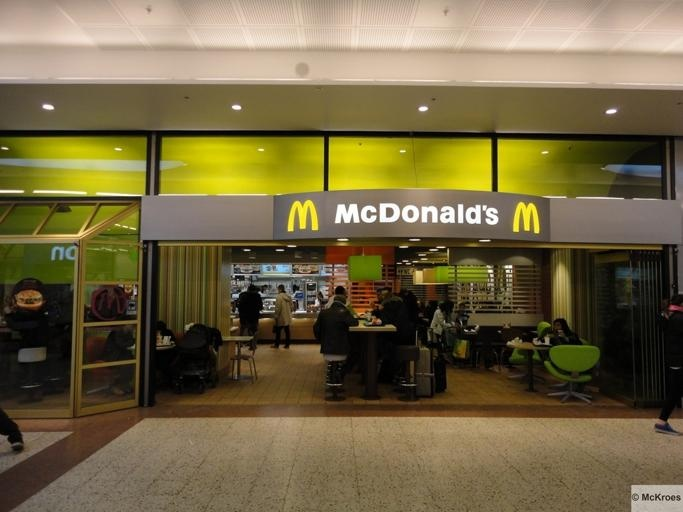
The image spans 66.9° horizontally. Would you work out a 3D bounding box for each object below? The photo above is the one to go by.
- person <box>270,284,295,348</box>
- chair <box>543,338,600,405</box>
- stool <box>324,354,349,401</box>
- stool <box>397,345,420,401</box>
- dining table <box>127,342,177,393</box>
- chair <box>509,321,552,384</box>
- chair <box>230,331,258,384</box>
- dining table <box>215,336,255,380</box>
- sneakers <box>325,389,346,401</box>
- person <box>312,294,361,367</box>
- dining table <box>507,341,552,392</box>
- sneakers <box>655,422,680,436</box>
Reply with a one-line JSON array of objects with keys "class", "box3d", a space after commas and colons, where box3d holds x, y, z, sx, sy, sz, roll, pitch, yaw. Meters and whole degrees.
[{"class": "person", "box3d": [-1.695, 1.772, 15.162, 0.569, 1.825, 0.435, 0, -3, -34]}, {"class": "chair", "box3d": [4.060, 2.065, 9.258, 1.098, 1.179, 1.084, 0, -2, 9]}, {"class": "stool", "box3d": [-0.113, 2.119, 9.184, 0.460, 0.812, 0.421, -1, -5, -2]}, {"class": "stool", "box3d": [1.218, 2.039, 9.228, 0.360, 0.942, 0.737, -1, -2, 8]}, {"class": "dining table", "box3d": [-3.498, 2.152, 10.064, 0.992, 1.039, 1.006, 1, -2, 1]}, {"class": "chair", "box3d": [3.868, 1.989, 10.733, 0.968, 1.246, 1.338, 1, -3, 18]}, {"class": "chair", "box3d": [-2.033, 2.088, 10.717, 0.569, 0.749, 0.565, -7, -4, 11]}, {"class": "dining table", "box3d": [-2.260, 2.321, 11.551, 0.862, 0.752, 0.822, 1, -15, -17]}, {"class": "sneakers", "box3d": [-0.113, 2.485, 9.206, 0.286, 0.164, 0.277, 1, 3, 7]}, {"class": "person", "box3d": [-0.053, 1.292, 9.432, 0.737, 1.414, 1.323, -2, -2, 11]}, {"class": "dining table", "box3d": [3.582, 2.131, 9.818, 0.835, 0.854, 0.853, -2, -10, 13]}, {"class": "sneakers", "box3d": [4.700, 2.509, 7.489, 0.382, 0.148, 0.126, 1, -2, 1]}]
